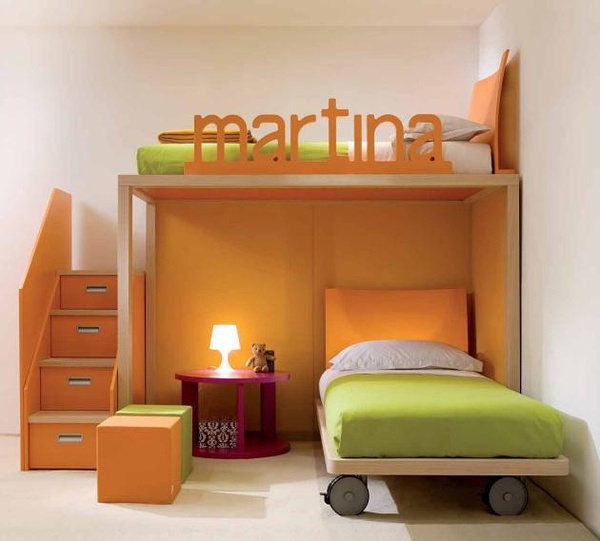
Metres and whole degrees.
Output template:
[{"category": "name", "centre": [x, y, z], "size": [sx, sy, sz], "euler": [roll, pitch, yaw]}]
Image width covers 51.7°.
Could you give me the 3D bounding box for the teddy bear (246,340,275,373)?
[{"category": "teddy bear", "centre": [-0.282, 0.611, 4.422], "size": [0.196, 0.196, 0.318], "euler": [0, 3, -5]}]

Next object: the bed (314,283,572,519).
[{"category": "bed", "centre": [0.698, 0.711, 3.829], "size": [1.166, 1.095, 1.646], "euler": [0, 3, -1]}]

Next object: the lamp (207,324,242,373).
[{"category": "lamp", "centre": [-0.534, 0.534, 4.352], "size": [0.265, 0.447, 0.287], "euler": [1, -2, -22]}]

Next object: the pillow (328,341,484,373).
[{"category": "pillow", "centre": [0.722, 0.590, 4.160], "size": [1.011, 0.220, 0.322], "euler": [0, 3, 2]}]

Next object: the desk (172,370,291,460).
[{"category": "desk", "centre": [-0.440, 0.979, 4.267], "size": [0.615, 0.428, 0.588], "euler": [2, -2, -34]}]
